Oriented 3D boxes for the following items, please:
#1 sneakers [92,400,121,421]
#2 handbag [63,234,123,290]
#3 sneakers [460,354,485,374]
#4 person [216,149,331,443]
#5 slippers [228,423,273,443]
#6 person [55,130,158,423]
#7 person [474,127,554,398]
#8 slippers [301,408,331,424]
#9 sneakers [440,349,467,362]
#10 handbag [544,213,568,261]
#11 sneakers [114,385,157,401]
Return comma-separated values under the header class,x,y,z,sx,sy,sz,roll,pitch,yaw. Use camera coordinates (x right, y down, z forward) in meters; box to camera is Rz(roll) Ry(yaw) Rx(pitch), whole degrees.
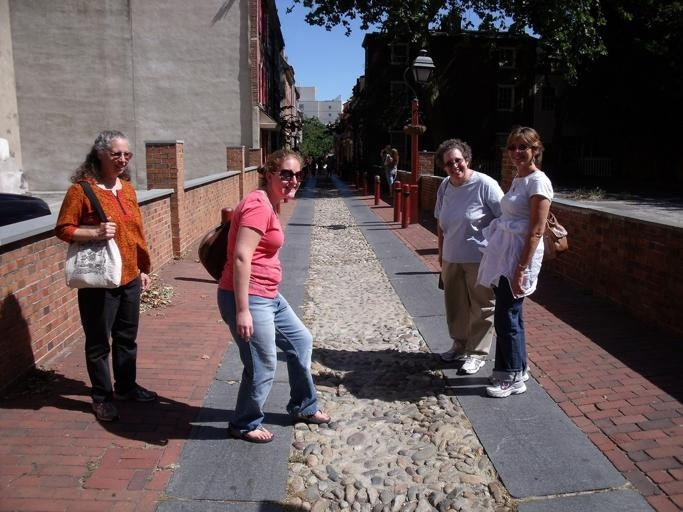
class,x,y,z,sx,sy,sz,roll,pitch,yaw
sneakers,-1.835,1.192,3.980,0.111,0.107,0.261,-4,6,-43
handbag,-1.902,-0.028,3.840,0.360,0.564,0.171,-4,-17,-13
sneakers,1.303,1.029,5.050,0.328,0.155,0.130,-13,17,-34
person,-0.565,0.313,3.847,0.839,2.170,0.719,-10,16,-39
slippers,-0.693,1.315,3.864,0.269,0.087,0.147,0,4,7
person,-1.822,0.147,4.047,0.449,2.193,0.655,4,13,18
person,1.486,0.083,4.388,0.539,2.297,0.499,0,12,-1
slippers,-0.202,1.286,4.171,0.287,0.121,0.104,-2,16,-1
sneakers,1.151,1.030,5.245,0.254,0.123,0.107,0,18,5
handbag,1.852,-0.188,4.463,0.202,0.369,0.342,-3,7,43
sneakers,-1.710,1.167,4.276,0.358,0.149,0.137,1,6,-7
